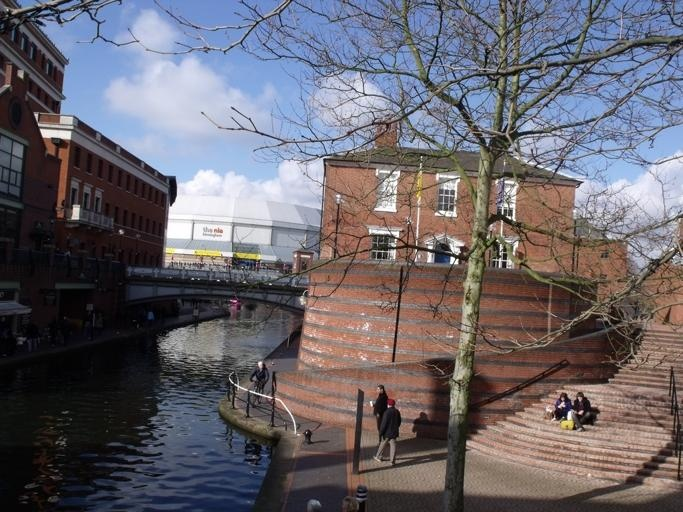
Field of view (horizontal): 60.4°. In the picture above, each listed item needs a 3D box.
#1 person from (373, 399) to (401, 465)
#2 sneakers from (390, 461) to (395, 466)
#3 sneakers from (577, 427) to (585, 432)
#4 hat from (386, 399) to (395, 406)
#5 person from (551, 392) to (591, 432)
[{"bbox_3d":[1.346,5.012,16.899,0.609,1.835,0.720,4,-7,-5],"label":"person"},{"bbox_3d":[1.458,5.884,16.681,0.166,0.067,0.205,4,-7,-4],"label":"sneakers"},{"bbox_3d":[7.283,5.296,17.966,0.144,0.083,0.143,-3,-8,29],"label":"sneakers"},{"bbox_3d":[1.386,4.183,16.839,0.264,0.225,0.303,2,6,11],"label":"hat"},{"bbox_3d":[7.191,4.861,18.450,0.896,0.819,1.234,-3,-14,37],"label":"person"}]
